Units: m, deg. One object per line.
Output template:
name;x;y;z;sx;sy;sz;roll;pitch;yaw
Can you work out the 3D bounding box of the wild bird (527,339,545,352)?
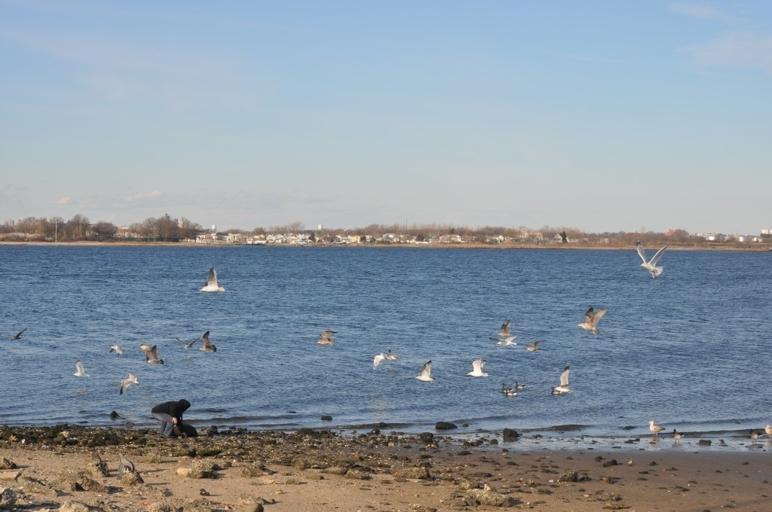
wild bird;11.196;6.520;108.771;0.935;0.514;1.198;31;-5;31
